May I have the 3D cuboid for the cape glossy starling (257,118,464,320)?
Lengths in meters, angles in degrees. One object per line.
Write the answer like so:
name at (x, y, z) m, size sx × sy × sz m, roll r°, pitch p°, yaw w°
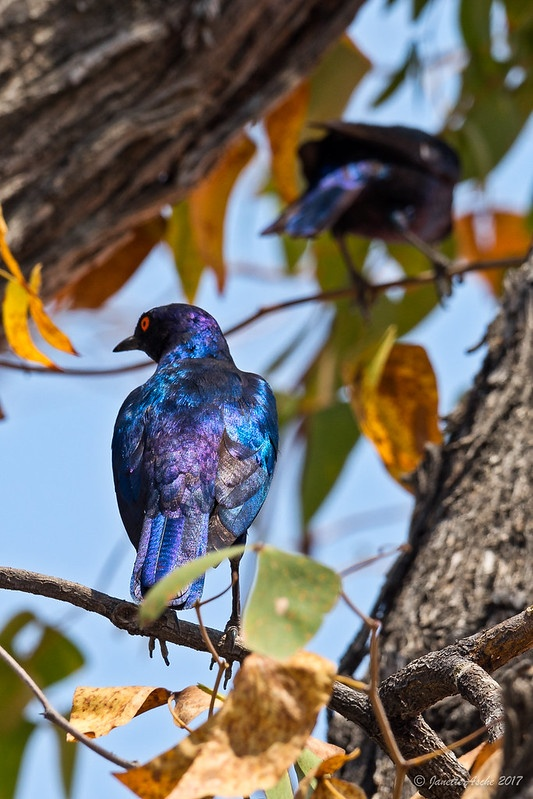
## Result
cape glossy starling at (0.316, -0.518, 3.986) m, size 0.277 × 0.363 × 0.585 m, roll -19°, pitch -38°, yaw 34°
